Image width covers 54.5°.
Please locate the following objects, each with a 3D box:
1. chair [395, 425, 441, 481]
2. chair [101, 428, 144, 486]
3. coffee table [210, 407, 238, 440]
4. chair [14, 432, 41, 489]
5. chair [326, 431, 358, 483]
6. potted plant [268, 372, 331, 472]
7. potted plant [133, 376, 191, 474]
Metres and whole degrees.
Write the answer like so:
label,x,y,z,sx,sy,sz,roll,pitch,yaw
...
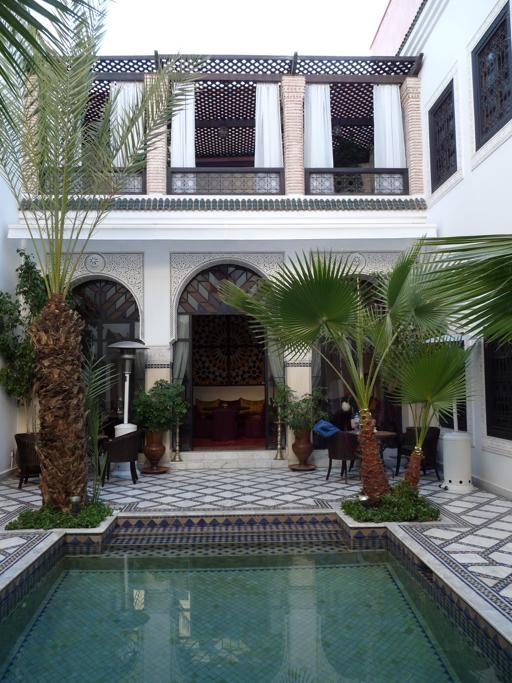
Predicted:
label,x,y,z,sx,sy,sz,roll,pitch,yaw
chair,2.149,1.429,6.455,0.470,0.689,0.465,3,-8,37
chair,-1.678,1.432,6.249,0.415,0.613,0.444,1,-3,-13
coffee table,-0.611,1.605,9.613,0.530,0.657,0.554,1,3,-2
chair,-2.890,1.510,6.256,0.278,0.670,1.221,0,-5,-24
chair,1.105,1.491,6.551,0.412,0.690,1.134,-3,-5,8
potted plant,0.646,1.287,7.529,0.738,1.294,0.638,-3,-5,6
potted plant,-1.501,1.249,7.382,0.873,1.378,0.763,-7,-15,23
